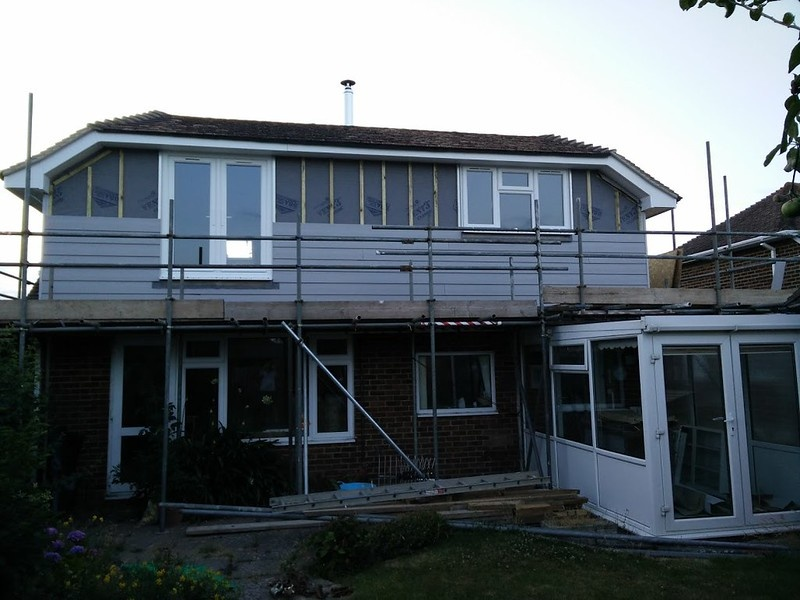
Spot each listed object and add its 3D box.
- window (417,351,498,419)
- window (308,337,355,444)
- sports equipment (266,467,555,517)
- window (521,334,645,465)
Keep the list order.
[{"bbox_3d":[1.013,1.583,15.195,1.607,1.198,0.078,-4,-5,22],"label":"window"},{"bbox_3d":[-1.257,1.659,14.683,0.852,1.915,0.164,0,-7,-6],"label":"window"},{"bbox_3d":[0.100,3.040,12.612,4.239,0.367,0.574,0,-6,-12],"label":"sports equipment"},{"bbox_3d":[3.039,1.720,12.719,0.137,2.257,3.203,1,-3,-20],"label":"window"}]
